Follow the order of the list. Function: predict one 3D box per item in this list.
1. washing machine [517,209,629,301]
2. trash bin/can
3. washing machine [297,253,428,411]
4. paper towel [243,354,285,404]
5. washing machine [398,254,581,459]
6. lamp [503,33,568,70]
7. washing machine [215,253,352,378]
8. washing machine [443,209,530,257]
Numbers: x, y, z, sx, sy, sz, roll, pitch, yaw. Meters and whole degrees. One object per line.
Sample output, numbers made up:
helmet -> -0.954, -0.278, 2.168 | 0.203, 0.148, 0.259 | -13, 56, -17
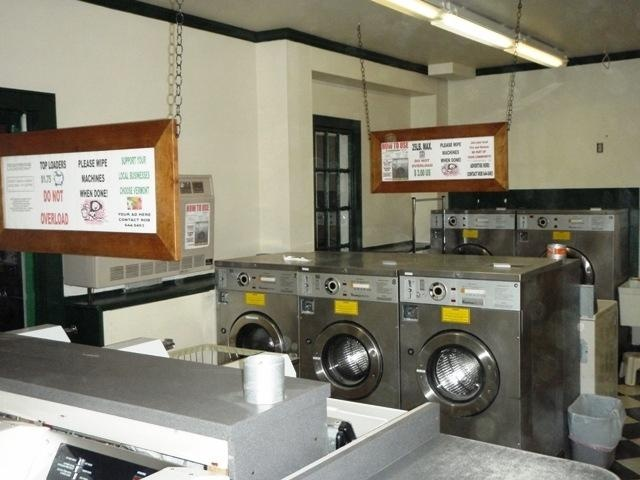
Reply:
washing machine -> 3.062, 0.283, 6.567 | 1.099, 1.099, 0.882 | 0, -16, 34
trash bin/can -> 1.982, 1.355, 3.886 | 0.450, 0.628, 0.517 | -2, 1, 26
washing machine -> 0.217, 0.622, 4.316 | 0.901, 1.587, 0.941 | 2, 2, 39
paper towel -> -0.163, 0.396, 1.472 | 0.112, 0.125, 0.113 | 1, 1, -26
washing machine -> 1.259, 0.858, 3.880 | 0.898, 1.563, 1.224 | 2, 11, 34
lamp -> 2.451, -2.119, 5.946 | 1.256, 0.208, 0.184 | -5, 4, -44
washing machine -> -0.447, 0.568, 4.640 | 1.046, 1.161, 1.087 | -4, 24, -22
washing machine -> 2.150, 0.150, 6.998 | 0.960, 0.988, 0.557 | 2, -8, 34
